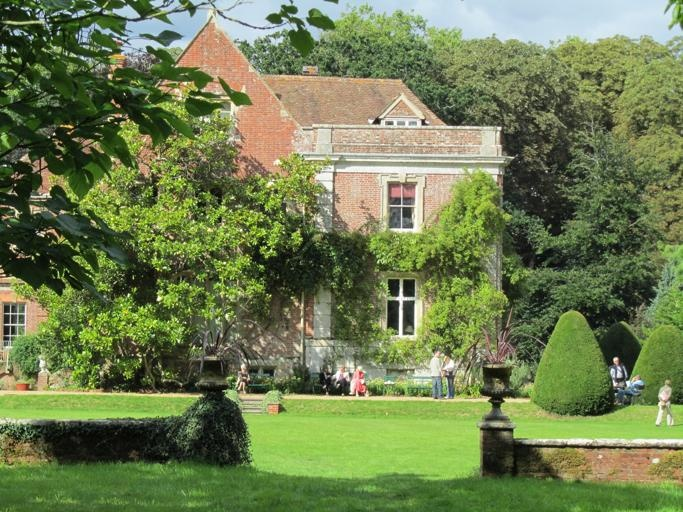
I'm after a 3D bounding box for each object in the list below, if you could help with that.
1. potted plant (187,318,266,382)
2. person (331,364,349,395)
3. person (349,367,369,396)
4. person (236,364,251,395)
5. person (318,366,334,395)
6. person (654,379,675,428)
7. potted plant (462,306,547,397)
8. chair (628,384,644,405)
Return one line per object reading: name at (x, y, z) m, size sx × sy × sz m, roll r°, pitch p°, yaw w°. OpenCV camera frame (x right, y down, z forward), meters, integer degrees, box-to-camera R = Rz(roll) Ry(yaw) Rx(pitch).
potted plant at (-3.923, 2.590, 45.800) m, size 2.059 × 1.256 × 1.620 m, roll 2°, pitch 3°, yaw -9°
person at (-0.036, 3.976, 47.691) m, size 0.556 × 0.902 × 0.917 m, roll -1°, pitch -9°, yaw 0°
person at (0.521, 3.964, 47.438) m, size 0.531 × 0.978 × 1.167 m, roll -1°, pitch -9°, yaw 1°
person at (-3.070, 3.805, 46.323) m, size 0.416 × 0.969 × 1.299 m, roll 0°, pitch -9°, yaw -4°
person at (-0.504, 3.942, 47.651) m, size 0.392 × 0.910 × 0.754 m, roll 1°, pitch -9°, yaw -14°
person at (9.346, 4.299, 43.428) m, size 0.515 × 1.372 × 2.372 m, roll -2°, pitch -9°, yaw 12°
potted plant at (4.895, 3.482, 48.235) m, size 1.989 × 2.622 × 2.402 m, roll 8°, pitch -7°, yaw -12°
chair at (9.076, 4.248, 46.223) m, size 0.430 × 0.621 × 0.285 m, roll 6°, pitch -10°, yaw 29°
